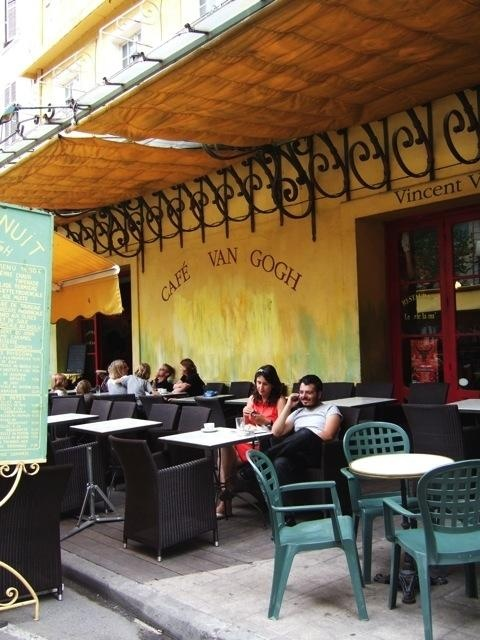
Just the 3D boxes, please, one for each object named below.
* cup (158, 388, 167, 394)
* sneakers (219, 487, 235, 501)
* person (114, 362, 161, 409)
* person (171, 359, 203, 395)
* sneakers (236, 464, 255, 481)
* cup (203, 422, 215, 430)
[{"bbox_3d":[-1.261,1.165,9.298,0.108,0.113,0.156,-5,-12,31],"label":"cup"},{"bbox_3d":[-0.109,1.438,4.749,0.127,0.134,0.109,6,-5,-3],"label":"sneakers"},{"bbox_3d":[-1.497,1.035,8.111,0.518,0.825,0.509,2,-14,39],"label":"person"},{"bbox_3d":[-0.850,0.975,9.549,0.552,0.860,0.491,2,-10,-1],"label":"person"},{"bbox_3d":[0.045,1.228,4.646,0.092,0.122,0.278,-2,4,-9],"label":"sneakers"},{"bbox_3d":[-0.228,0.834,4.459,0.067,0.047,0.065,2,-5,0],"label":"cup"}]
